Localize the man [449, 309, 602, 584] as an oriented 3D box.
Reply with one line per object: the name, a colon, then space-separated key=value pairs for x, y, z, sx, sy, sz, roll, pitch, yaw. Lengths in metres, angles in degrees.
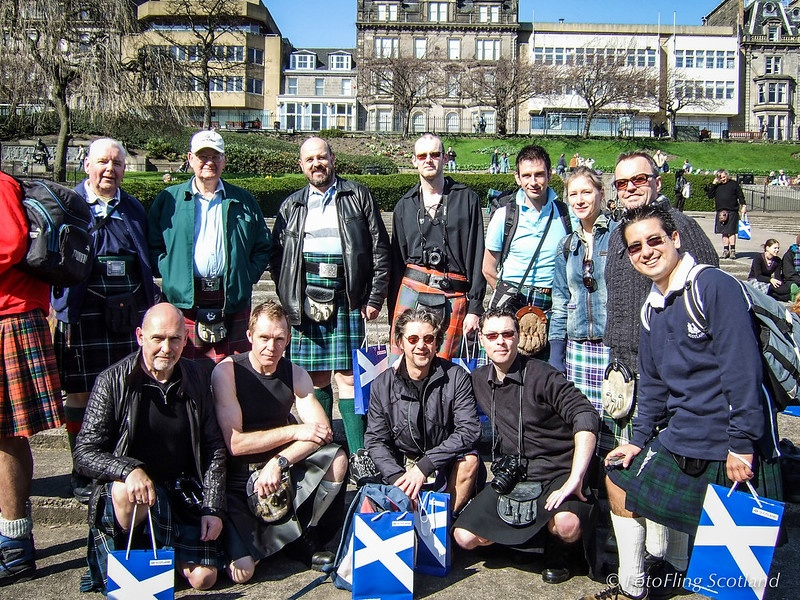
man: x=0.762 y=0.996 z=6.329 sx=1.110 sy=1.764 sz=0.947 roll=-3 pitch=1 yaw=26

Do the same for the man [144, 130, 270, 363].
man: x=-1.542 y=-0.216 z=7.362 sx=0.888 sy=2.337 sz=0.671 roll=3 pitch=31 yaw=-8

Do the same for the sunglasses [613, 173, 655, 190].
sunglasses: x=1.658 y=-0.839 z=6.455 sx=0.287 sy=0.120 sz=0.156 roll=2 pitch=11 yaw=21

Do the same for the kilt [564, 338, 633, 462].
kilt: x=1.399 y=0.684 z=6.671 sx=0.473 sy=0.731 sz=0.154 roll=2 pitch=-11 yaw=31

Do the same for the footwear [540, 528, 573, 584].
footwear: x=1.053 y=1.746 z=6.099 sx=0.134 sy=0.190 sz=0.419 roll=4 pitch=3 yaw=19

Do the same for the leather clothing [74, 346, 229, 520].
leather clothing: x=-1.662 y=0.939 z=6.143 sx=0.701 sy=1.241 sz=1.018 roll=7 pitch=4 yaw=39

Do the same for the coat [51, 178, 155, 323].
coat: x=-2.185 y=-0.329 z=6.642 sx=0.901 sy=1.351 sz=0.676 roll=-3 pitch=-1 yaw=-20

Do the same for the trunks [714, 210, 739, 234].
trunks: x=6.115 y=-1.477 z=17.227 sx=0.359 sy=0.670 sz=0.468 roll=-2 pitch=5 yaw=-32

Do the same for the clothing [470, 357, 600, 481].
clothing: x=0.918 y=0.795 z=6.298 sx=0.749 sy=0.831 sz=0.298 roll=-12 pitch=4 yaw=43

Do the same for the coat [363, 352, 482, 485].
coat: x=0.149 y=0.809 z=6.455 sx=0.673 sy=0.871 sz=0.806 roll=0 pitch=2 yaw=-1

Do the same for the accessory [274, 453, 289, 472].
accessory: x=-0.799 y=1.103 z=6.210 sx=0.067 sy=0.115 sz=0.105 roll=-11 pitch=4 yaw=-38

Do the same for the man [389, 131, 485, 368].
man: x=0.294 y=-0.059 z=7.468 sx=0.800 sy=2.530 sz=0.525 roll=3 pitch=9 yaw=21

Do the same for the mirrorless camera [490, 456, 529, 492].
mirrorless camera: x=0.719 y=1.187 z=6.231 sx=0.173 sy=0.117 sz=0.236 roll=0 pitch=42 yaw=15

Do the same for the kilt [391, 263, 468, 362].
kilt: x=0.239 y=0.081 z=7.503 sx=0.541 sy=0.869 sz=0.440 roll=11 pitch=29 yaw=6

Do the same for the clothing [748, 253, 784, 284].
clothing: x=5.132 y=-0.443 z=12.721 sx=0.415 sy=0.605 sz=0.569 roll=3 pitch=1 yaw=4

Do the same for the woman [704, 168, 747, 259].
woman: x=6.100 y=-1.637 z=17.019 sx=0.671 sy=1.668 sz=0.510 roll=0 pitch=6 yaw=29

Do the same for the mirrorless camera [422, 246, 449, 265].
mirrorless camera: x=0.278 y=-0.346 z=7.239 sx=0.191 sy=0.211 sz=0.131 roll=0 pitch=-1 yaw=3

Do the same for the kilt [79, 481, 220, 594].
kilt: x=-1.581 y=1.523 z=5.799 sx=0.597 sy=0.644 sz=0.274 roll=1 pitch=12 yaw=-6

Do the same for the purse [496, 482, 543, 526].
purse: x=0.815 y=1.332 z=6.112 sx=0.262 sy=0.068 sz=0.486 roll=2 pitch=30 yaw=16

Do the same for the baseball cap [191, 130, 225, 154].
baseball cap: x=-1.481 y=-1.212 z=7.046 sx=0.231 sy=0.194 sz=0.398 roll=2 pitch=-4 yaw=-10

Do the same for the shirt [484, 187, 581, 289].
shirt: x=1.071 y=-0.472 z=7.233 sx=0.612 sy=0.764 sz=0.317 roll=8 pitch=-3 yaw=-4

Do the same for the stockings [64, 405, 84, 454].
stockings: x=-2.460 y=0.956 z=6.827 sx=0.150 sy=0.403 sz=0.110 roll=-6 pitch=2 yaw=-33

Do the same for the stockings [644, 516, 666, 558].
stockings: x=1.644 y=1.526 z=5.891 sx=0.130 sy=0.242 sz=0.163 roll=-1 pitch=25 yaw=18
